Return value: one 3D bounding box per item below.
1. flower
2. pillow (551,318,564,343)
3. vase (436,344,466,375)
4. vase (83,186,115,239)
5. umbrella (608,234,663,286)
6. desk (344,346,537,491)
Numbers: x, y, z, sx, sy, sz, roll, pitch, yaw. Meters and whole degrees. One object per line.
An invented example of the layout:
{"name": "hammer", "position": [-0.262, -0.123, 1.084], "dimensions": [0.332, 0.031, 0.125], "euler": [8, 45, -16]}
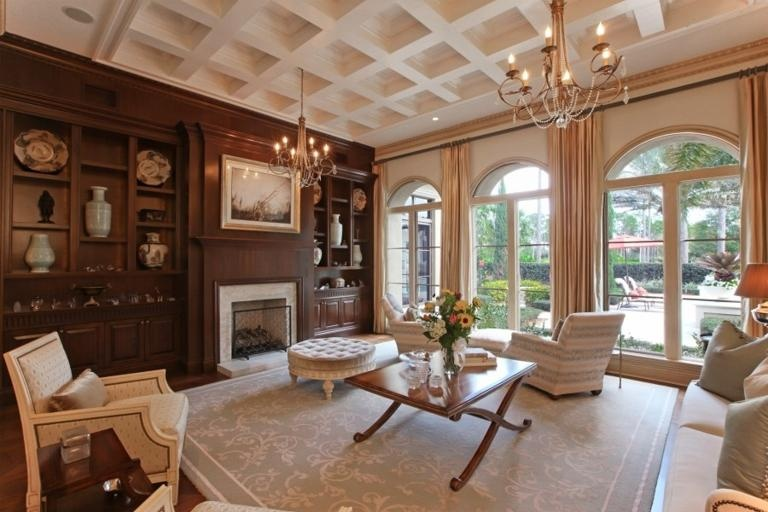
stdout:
{"name": "flower", "position": [0.782, 0.759, 5.646], "dimensions": [0.706, 0.682, 0.695], "euler": [-4, 2, 18]}
{"name": "pillow", "position": [2.389, 1.031, 6.595], "dimensions": [0.096, 0.236, 0.240], "euler": [14, -2, 15]}
{"name": "vase", "position": [0.745, 1.199, 5.715], "dimensions": [0.338, 0.503, 0.369], "euler": [0, 0, -10]}
{"name": "vase", "position": [-4.114, -0.618, 6.870], "dimensions": [0.326, 0.817, 0.298], "euler": [-2, 1, -34]}
{"name": "umbrella", "position": [3.800, 0.050, 7.216], "dimensions": [0.700, 0.731, 0.690], "euler": [2, 7, 17]}
{"name": "desk", "position": [0.752, 1.805, 5.375], "dimensions": [2.074, 1.044, 1.102], "euler": [-1, 0, -21]}
